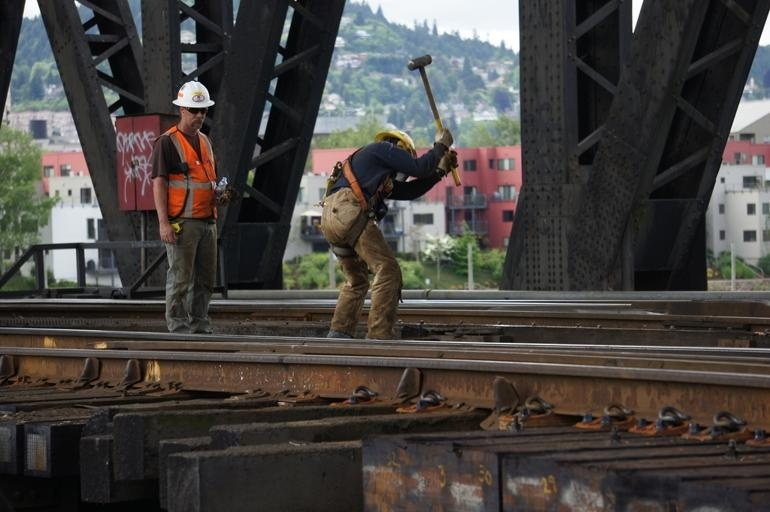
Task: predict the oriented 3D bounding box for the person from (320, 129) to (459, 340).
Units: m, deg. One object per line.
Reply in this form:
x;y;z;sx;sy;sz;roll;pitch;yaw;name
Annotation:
-0.064;-0.129;15.434;1.242;2.358;0.962;0;-1;7;person

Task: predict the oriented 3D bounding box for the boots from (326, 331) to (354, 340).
-0.490;0.831;15.311;0.195;0.083;0.106;1;0;-15;boots

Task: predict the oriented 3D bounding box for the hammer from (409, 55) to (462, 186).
0.478;-1.688;15.524;0.246;0.903;0.101;-7;18;42;hammer

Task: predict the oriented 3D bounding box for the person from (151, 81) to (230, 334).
-2.084;-0.492;16.134;0.961;2.757;0.783;1;-2;-44;person
